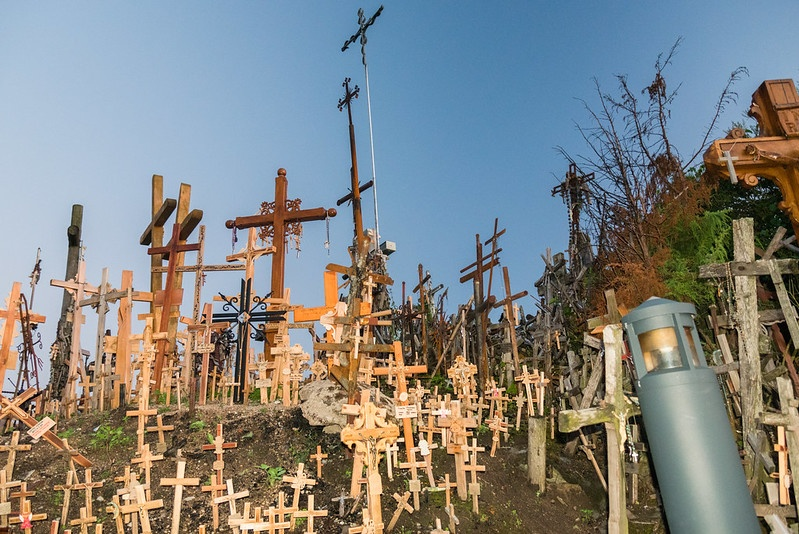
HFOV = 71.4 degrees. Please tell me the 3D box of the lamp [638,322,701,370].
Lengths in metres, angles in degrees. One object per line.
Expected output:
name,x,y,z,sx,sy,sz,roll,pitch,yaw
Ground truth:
lamp,6.627,2.189,14.385,1.061,1.260,1.200,-10,-5,-17
